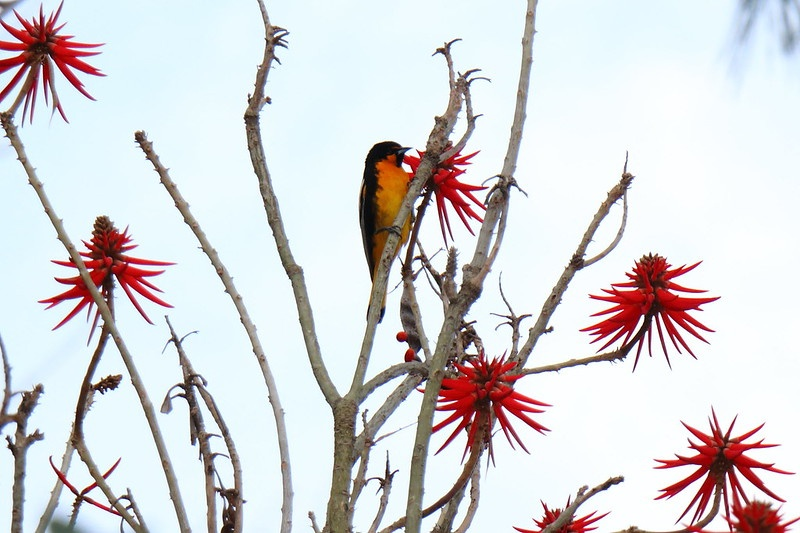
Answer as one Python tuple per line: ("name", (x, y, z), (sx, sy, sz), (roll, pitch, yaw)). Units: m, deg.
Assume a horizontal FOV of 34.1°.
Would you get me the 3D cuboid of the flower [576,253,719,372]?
("flower", (0.681, 0.122, 3.590), (0.375, 0.372, 0.334), (0, -90, -46))
